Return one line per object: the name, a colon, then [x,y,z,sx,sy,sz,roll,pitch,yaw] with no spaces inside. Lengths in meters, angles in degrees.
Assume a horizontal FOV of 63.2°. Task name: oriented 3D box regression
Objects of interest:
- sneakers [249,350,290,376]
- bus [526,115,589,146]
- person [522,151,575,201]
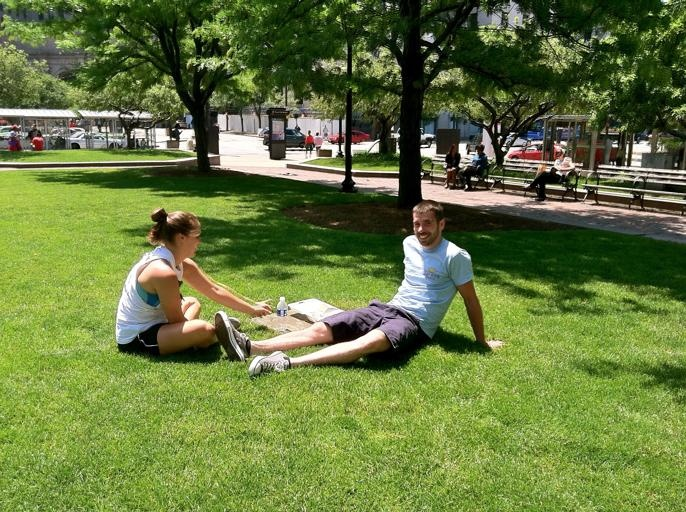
sneakers: [-0.650,0.940,5.043,0.405,0.161,0.174,-13,7,-33]
bus: [11.265,-6.579,28.581,1.483,1.462,4.263,1,11,0]
person: [6.779,-2.678,18.181,1.940,1.581,1.021,-8,13,-39]
